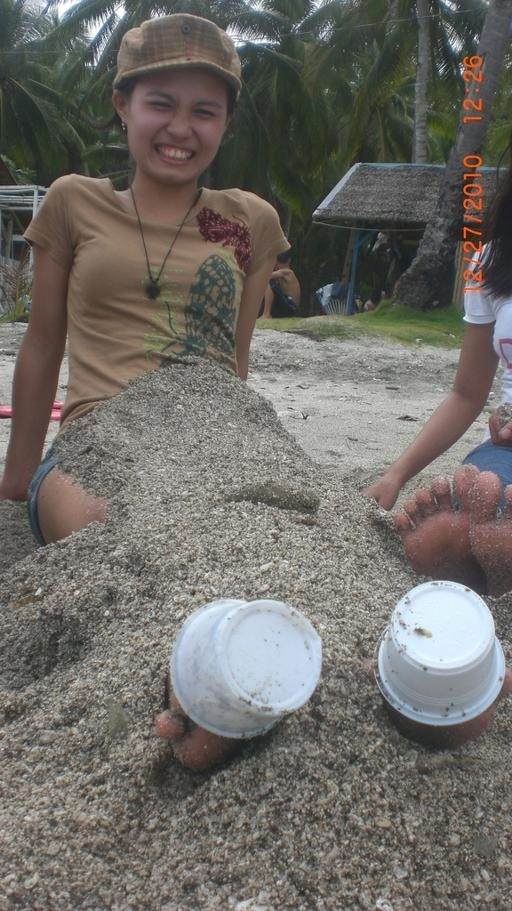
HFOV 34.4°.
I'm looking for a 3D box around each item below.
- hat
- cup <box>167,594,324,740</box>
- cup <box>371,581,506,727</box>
[{"bbox_3d":[-0.172,-0.948,1.948,0.305,0.195,0.210,7,12,-13],"label":"hat"},{"bbox_3d":[-0.024,0.296,1.240,0.218,0.199,0.157,-4,-24,-21],"label":"cup"},{"bbox_3d":[0.252,0.308,1.271,0.200,0.114,0.203,-2,56,3],"label":"cup"}]
